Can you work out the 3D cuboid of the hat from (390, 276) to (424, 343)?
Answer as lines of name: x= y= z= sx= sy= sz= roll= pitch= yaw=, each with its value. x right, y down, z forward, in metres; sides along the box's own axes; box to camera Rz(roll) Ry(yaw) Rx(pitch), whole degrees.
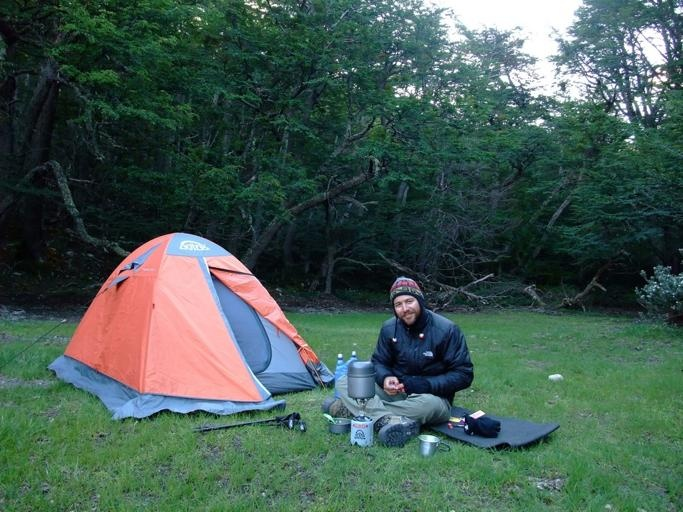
hat: x=0.809 y=0.598 z=6.455 sx=0.428 sy=0.669 sz=0.345 roll=3 pitch=11 yaw=7

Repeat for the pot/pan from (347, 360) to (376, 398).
pot/pan: x=0.215 y=1.423 z=5.983 sx=0.311 sy=0.510 sz=0.240 roll=2 pitch=11 yaw=1

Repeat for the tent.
tent: x=-2.157 y=0.878 z=7.599 sx=3.363 sy=1.496 sz=2.799 roll=-1 pitch=-4 yaw=38

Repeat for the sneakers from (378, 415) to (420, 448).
sneakers: x=0.684 y=2.016 z=6.145 sx=0.611 sy=0.197 sz=0.264 roll=0 pitch=-4 yaw=-33

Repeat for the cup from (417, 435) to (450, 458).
cup: x=1.031 y=2.068 z=5.834 sx=0.355 sy=0.191 sz=0.207 roll=3 pitch=10 yaw=7

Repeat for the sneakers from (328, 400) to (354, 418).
sneakers: x=-0.003 y=1.918 z=6.675 sx=0.286 sy=0.128 sz=0.340 roll=-2 pitch=-16 yaw=6

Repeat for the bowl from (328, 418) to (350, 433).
bowl: x=-0.025 y=2.020 z=6.348 sx=0.245 sy=0.131 sz=0.197 roll=3 pitch=9 yaw=7
